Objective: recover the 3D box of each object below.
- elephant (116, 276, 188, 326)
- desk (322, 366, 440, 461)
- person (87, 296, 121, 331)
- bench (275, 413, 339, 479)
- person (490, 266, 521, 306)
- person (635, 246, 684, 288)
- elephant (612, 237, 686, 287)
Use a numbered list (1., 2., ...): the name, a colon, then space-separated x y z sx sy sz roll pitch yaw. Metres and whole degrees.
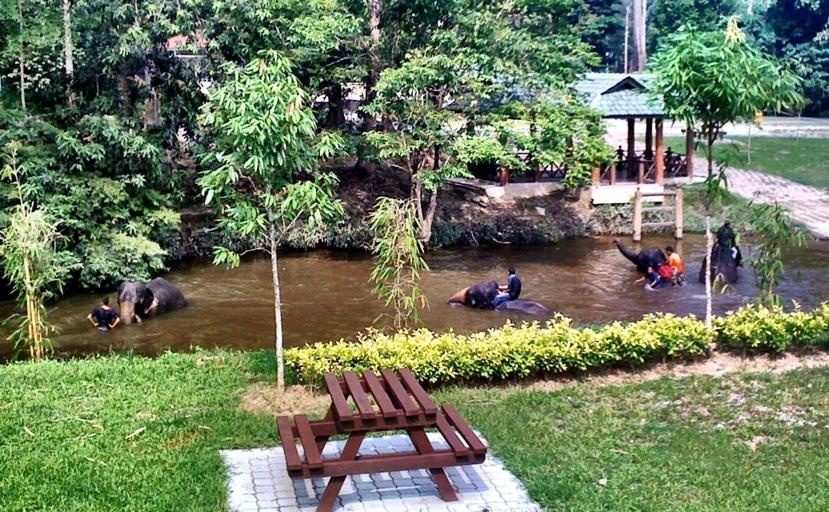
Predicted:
1. elephant: -8.470 1.388 23.255 0.718 1.247 2.032 4 9 39
2. desk: -0.631 2.684 13.641 1.930 0.865 1.675 -3 7 -8
3. person: -9.702 1.833 22.709 0.923 1.358 0.546 3 13 -12
4. bench: -2.042 3.402 12.991 0.990 0.231 1.005 10 33 -30
5. person: 2.943 0.991 23.476 0.849 1.231 0.799 -1 7 6
6. person: 9.039 0.267 26.134 0.838 1.152 2.292 8 28 24
7. elephant: 8.919 0.278 27.637 0.683 1.248 2.320 -14 35 -20
